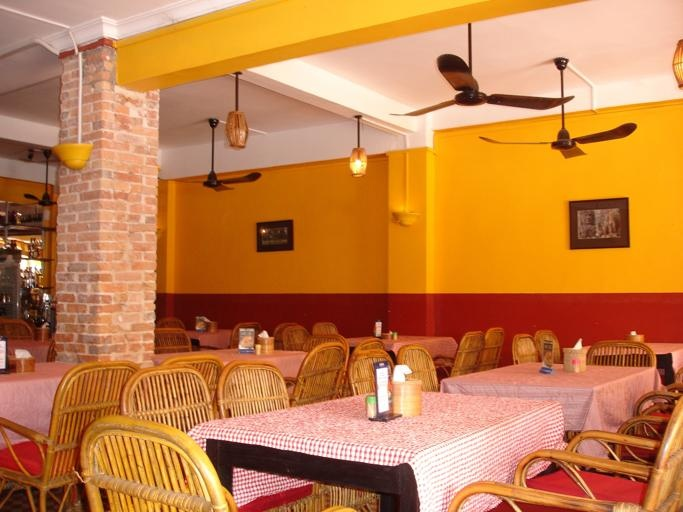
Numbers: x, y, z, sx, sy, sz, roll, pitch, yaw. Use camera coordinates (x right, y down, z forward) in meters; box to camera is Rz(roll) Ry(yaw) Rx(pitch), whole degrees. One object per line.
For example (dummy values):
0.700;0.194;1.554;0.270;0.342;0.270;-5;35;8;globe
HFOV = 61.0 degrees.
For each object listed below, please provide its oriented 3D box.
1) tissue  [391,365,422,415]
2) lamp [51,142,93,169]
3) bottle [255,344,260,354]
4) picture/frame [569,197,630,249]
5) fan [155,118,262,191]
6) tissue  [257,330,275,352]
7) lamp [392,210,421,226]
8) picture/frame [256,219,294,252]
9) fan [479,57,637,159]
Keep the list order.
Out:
0.263;0.586;2.485;0.149;0.198;0.135;-9;-19;9;tissue 
-2.285;-0.857;4.898;0.371;0.256;0.185;-3;-3;31;lamp
-0.748;0.841;5.216;0.078;0.095;0.069;0;-5;-2;bottle
3.320;-0.411;7.386;0.806;0.634;0.030;0;-3;28;picture/frame
-2.050;-1.576;8.893;1.365;0.990;1.430;4;7;10;fan
-0.689;0.785;5.350;0.214;0.197;0.203;0;-5;10;tissue 
0.911;-0.514;8.238;0.290;0.146;0.274;2;-2;-34;lamp
-1.138;-0.334;9.963;0.041;0.554;0.879;5;6;39;picture/frame
2.327;-1.594;6.284;1.489;0.890;1.481;-1;5;18;fan
